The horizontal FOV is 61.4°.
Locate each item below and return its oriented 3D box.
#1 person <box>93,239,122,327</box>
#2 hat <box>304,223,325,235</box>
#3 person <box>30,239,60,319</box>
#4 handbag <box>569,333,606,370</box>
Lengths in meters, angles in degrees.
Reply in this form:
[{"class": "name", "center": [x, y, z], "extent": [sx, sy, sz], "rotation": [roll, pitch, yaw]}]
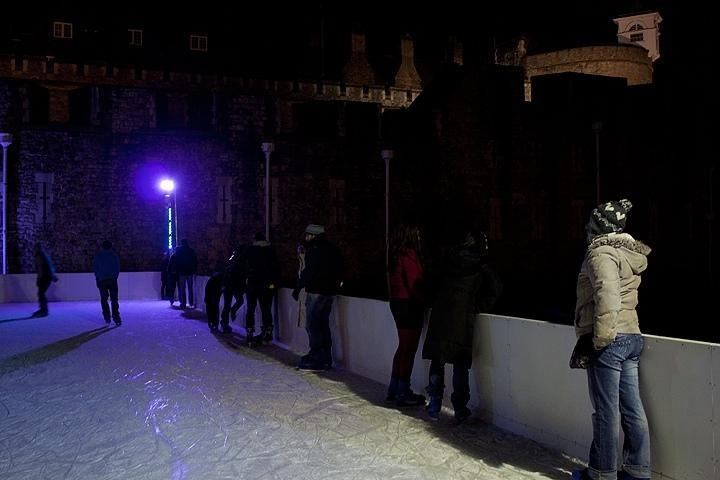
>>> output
[{"class": "person", "center": [-7.393, 1.240, 17.683], "extent": [0.706, 2.496, 1.254], "rotation": [-2, 6, -23]}, {"class": "hat", "center": [-0.886, -0.208, 12.786], "extent": [0.381, 0.202, 0.294], "rotation": [-1, 6, -43]}, {"class": "person", "center": [-10.240, 1.264, 19.536], "extent": [0.705, 2.386, 1.248], "rotation": [-3, 7, -28]}, {"class": "handbag", "center": [3.052, 1.518, 8.190], "extent": [0.200, 0.630, 0.265], "rotation": [19, -16, 14]}]
